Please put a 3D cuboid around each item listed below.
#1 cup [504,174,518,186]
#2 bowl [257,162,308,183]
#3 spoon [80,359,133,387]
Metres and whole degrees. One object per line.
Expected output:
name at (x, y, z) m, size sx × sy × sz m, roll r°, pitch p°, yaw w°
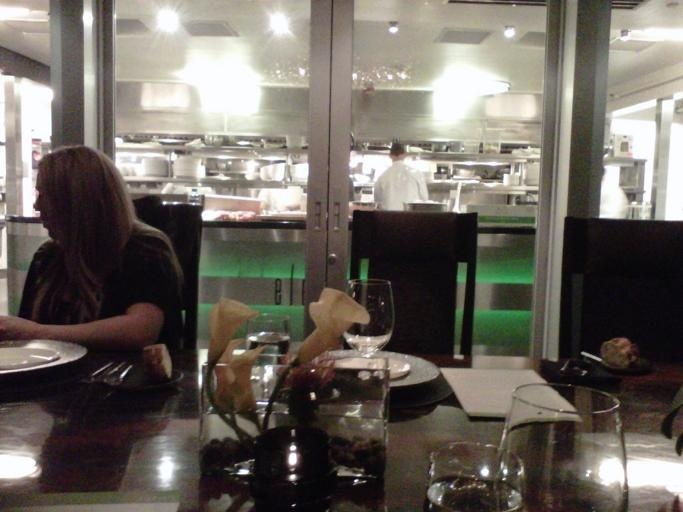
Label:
cup at (1.235, -0.557, 4.609) m, size 0.108 × 0.069 × 0.104 m, roll 0°, pitch 2°, yaw 0°
bowl at (-0.330, -0.502, 3.836) m, size 0.289 × 0.087 × 0.205 m, roll 2°, pitch 3°, yaw 12°
spoon at (-0.449, 0.226, 1.209) m, size 0.045 × 0.007 × 0.155 m, roll 6°, pitch 0°, yaw -14°
